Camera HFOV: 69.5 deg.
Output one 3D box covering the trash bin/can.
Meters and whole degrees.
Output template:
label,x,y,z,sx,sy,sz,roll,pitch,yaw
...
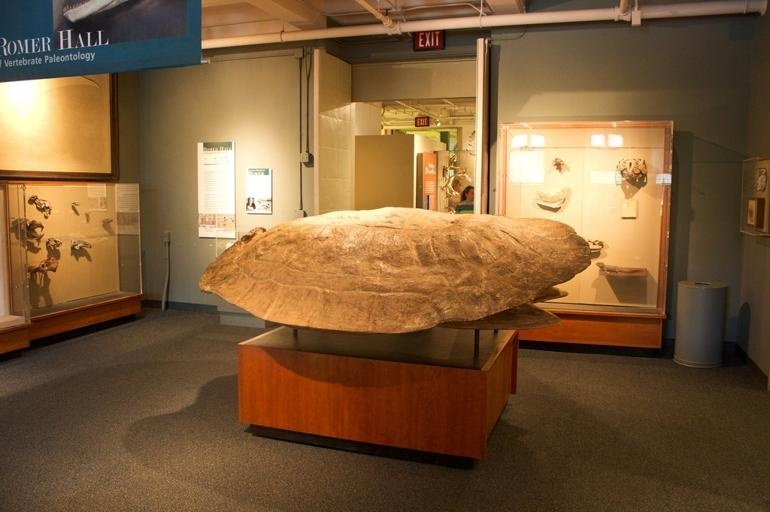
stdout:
label,x,y,z,sx,sy,sz,roll,pitch,yaw
trash bin/can,3.775,0.822,6.643,0.566,0.950,0.440,7,16,25
